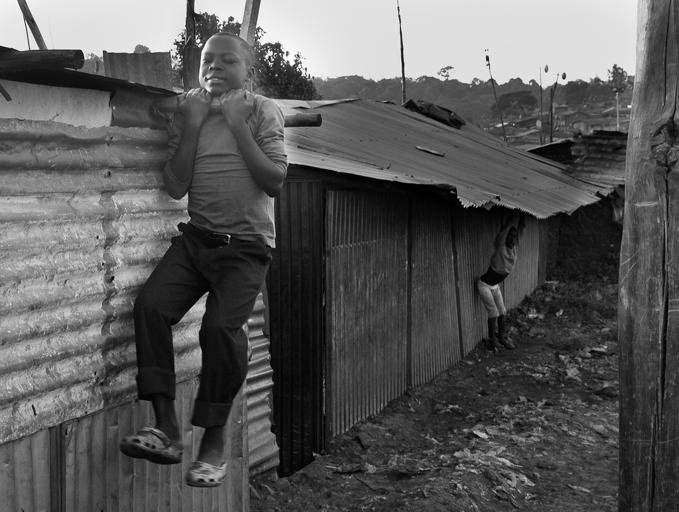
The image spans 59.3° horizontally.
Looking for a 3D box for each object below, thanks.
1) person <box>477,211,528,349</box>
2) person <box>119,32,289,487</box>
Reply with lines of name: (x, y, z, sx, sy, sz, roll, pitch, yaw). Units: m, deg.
person: (2.886, 0.432, 10.870, 0.688, 2.418, 1.355, 3, 4, 17)
person: (-0.609, -0.017, 2.810, 0.726, 2.116, 0.591, 1, 3, -18)
